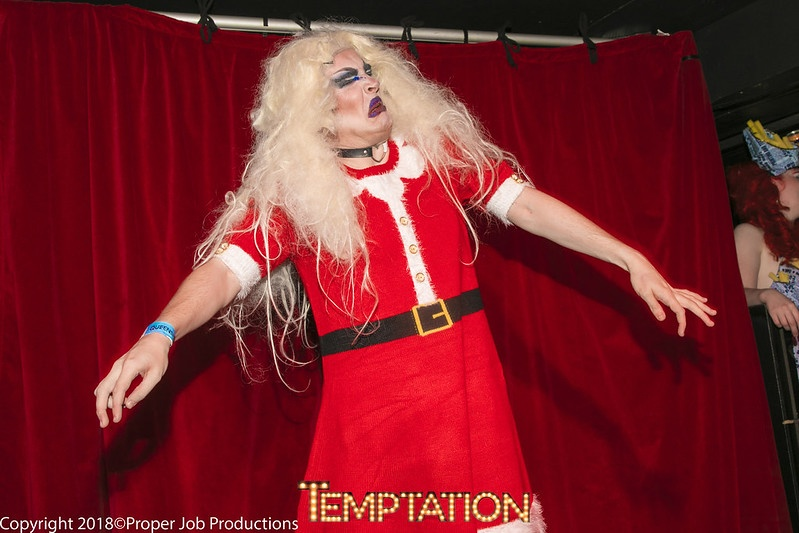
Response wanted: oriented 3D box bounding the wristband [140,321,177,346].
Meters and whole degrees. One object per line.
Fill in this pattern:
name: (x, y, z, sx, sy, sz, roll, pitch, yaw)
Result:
wristband: (-0.686, 0.196, 2.010, 0.067, 0.050, 0.072, 6, -34, -11)
